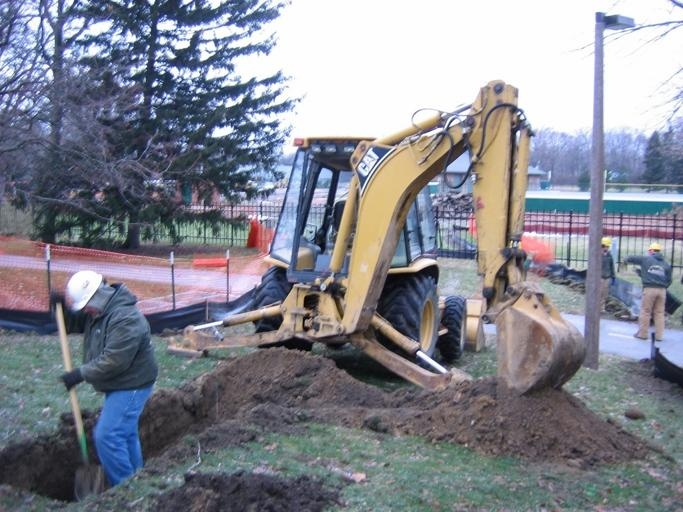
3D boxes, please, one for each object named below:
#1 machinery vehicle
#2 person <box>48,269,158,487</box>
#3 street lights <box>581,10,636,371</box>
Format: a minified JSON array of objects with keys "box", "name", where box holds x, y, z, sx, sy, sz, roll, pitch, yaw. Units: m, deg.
[{"box":[0.741,-0.037,8.465,5.103,3.472,2.990,-2,0,28],"name":"machinery vehicle"},{"box":[-2.390,1.374,5.870,0.838,2.391,0.789,0,10,0],"name":"person"},{"box":[4.071,-0.971,9.094,0.471,5.445,0.976,2,10,9],"name":"street lights"}]
